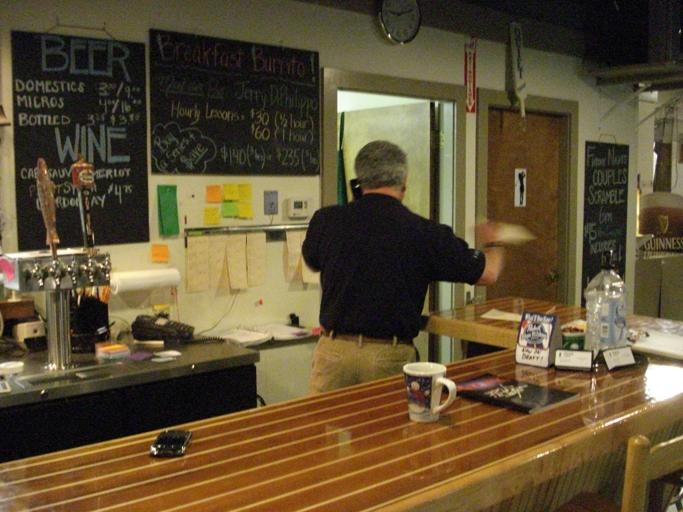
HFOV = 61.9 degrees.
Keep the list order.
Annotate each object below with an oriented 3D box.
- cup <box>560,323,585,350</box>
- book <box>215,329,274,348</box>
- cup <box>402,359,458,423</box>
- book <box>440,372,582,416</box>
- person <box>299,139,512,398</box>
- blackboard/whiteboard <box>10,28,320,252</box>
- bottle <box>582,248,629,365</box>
[{"bbox_3d":[0.943,0.337,2.311,0.088,0.080,0.138,0,8,23],"label":"cup"},{"bbox_3d":[-0.596,0.486,3.461,0.139,0.057,0.225,-5,7,-32],"label":"book"},{"bbox_3d":[0.287,0.423,1.842,0.151,0.174,0.204,-2,7,10],"label":"cup"},{"bbox_3d":[0.599,0.472,1.979,0.378,0.035,0.258,2,9,33],"label":"book"},{"bbox_3d":[0.263,0.041,2.674,0.884,1.174,0.361,-3,7,-5],"label":"person"},{"bbox_3d":[-0.991,-0.719,3.421,1.788,1.234,0.081,-7,8,-29],"label":"blackboard/whiteboard"},{"bbox_3d":[1.059,0.224,2.295,0.148,0.333,0.239,2,8,30],"label":"bottle"}]
